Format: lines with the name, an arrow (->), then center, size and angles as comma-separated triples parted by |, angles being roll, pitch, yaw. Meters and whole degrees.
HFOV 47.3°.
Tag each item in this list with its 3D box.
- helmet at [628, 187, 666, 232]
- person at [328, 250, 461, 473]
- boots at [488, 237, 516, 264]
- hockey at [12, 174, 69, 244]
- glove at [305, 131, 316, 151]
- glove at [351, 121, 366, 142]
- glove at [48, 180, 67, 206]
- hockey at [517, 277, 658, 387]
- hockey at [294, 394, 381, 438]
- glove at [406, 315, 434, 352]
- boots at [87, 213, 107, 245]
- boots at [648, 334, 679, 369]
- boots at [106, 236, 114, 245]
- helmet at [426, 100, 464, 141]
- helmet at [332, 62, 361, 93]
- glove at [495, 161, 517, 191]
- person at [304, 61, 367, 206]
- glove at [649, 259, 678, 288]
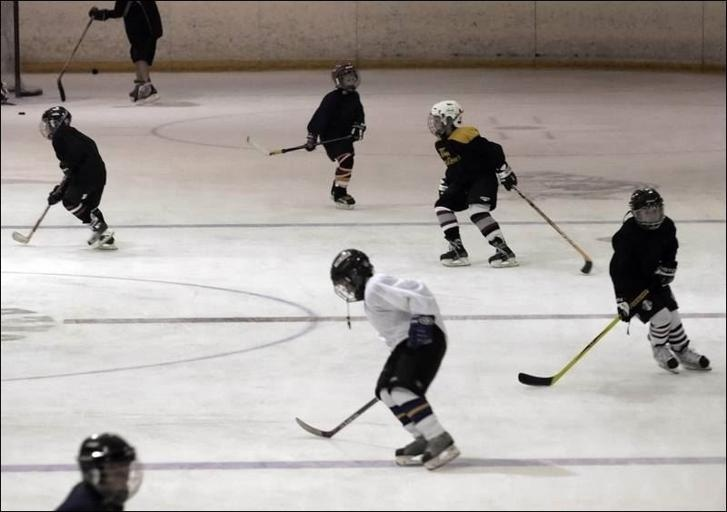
helmet -> 1.839, -0.325, 5.379 | 0.208, 0.295, 0.235 | -5, -14, 16
person -> 0.253, 0.612, 4.426 | 0.468, 1.037, 0.352 | -2, -14, 4
boots -> 1.322, -0.025, 7.884 | 0.268, 0.284, 0.200 | -3, -14, 7
hockey -> -3.761, -0.524, 9.658 | 0.280, 1.097, 0.241 | 37, -21, 1
glove -> -0.688, -1.419, 10.196 | 0.097, 0.209, 0.168 | 18, 17, 6
glove -> -0.059, -1.543, 10.249 | 0.207, 0.221, 0.099 | 8, 2, 2
glove -> -3.188, -0.662, 8.564 | 0.125, 0.265, 0.199 | 2, -12, 32
hockey -> 1.617, 0.570, 5.939 | 0.142, 0.941, 0.121 | 39, -15, 44
hockey -> -0.118, 0.933, 4.732 | 0.341, 0.347, 0.074 | 30, -32, 45
glove -> 0.305, 0.398, 4.363 | 0.200, 0.158, 0.143 | 2, -6, -9
boots -> -2.776, -0.288, 8.598 | 0.126, 0.319, 0.298 | 9, -17, -35
boots -> 2.005, 0.635, 5.515 | 0.088, 0.233, 0.168 | -30, -53, 10
boots -> -2.602, -0.162, 8.557 | 0.092, 0.054, 0.081 | -2, 12, 3
helmet -> 0.776, -1.332, 7.894 | 0.297, 0.457, 0.418 | -2, -13, 2
helmet -> -0.212, -2.164, 10.019 | 0.304, 0.254, 0.313 | 2, -13, -12
glove -> 1.402, -0.732, 7.927 | 0.147, 0.181, 0.331 | -28, -54, 25
person -> -0.334, -1.461, 10.126 | 0.717, 1.709, 0.882 | -1, -14, -3
glove -> 2.007, 0.123, 5.426 | 0.164, 0.167, 0.201 | 9, -8, -31
